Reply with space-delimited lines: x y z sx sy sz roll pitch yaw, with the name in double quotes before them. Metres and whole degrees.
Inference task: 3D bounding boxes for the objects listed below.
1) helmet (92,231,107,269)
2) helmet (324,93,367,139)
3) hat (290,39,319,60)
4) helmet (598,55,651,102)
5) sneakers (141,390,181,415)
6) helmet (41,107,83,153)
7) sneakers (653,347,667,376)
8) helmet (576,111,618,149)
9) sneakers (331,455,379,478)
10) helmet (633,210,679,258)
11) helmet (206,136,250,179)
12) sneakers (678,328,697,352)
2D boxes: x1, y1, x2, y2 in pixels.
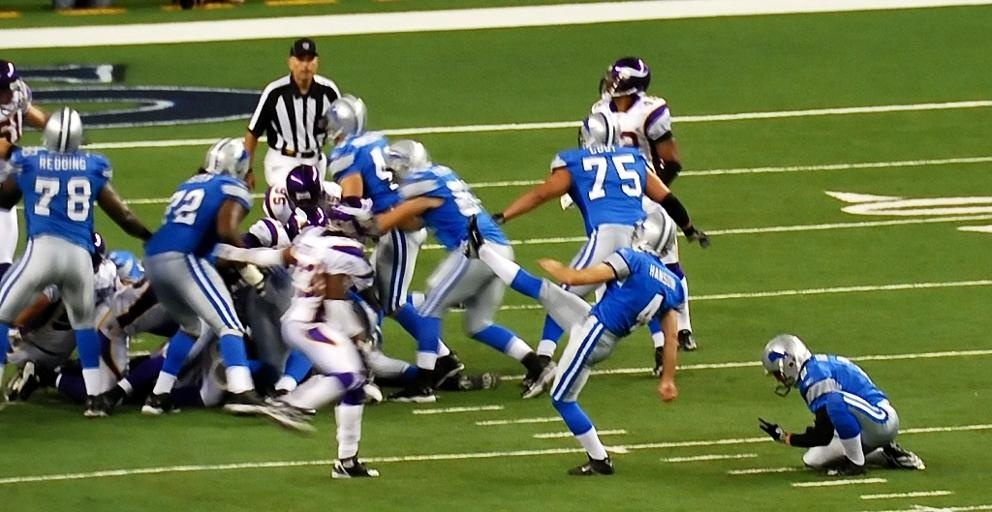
"helmet" -4.470 -0.059 18.443 0.112 0.400 0.307 -2 8 -7
"helmet" -1.734 -1.558 18.798 0.578 0.476 0.445 6 14 18
"hat" -2.382 -2.576 20.296 0.306 0.187 0.385 -1 2 -10
"helmet" 1.489 -2.130 19.732 0.665 0.515 0.483 7 2 -34
"sneakers" -3.751 1.642 18.270 0.404 0.219 0.199 9 4 -2
"helmet" -4.805 -1.438 18.204 0.484 0.475 0.607 2 23 -25
"sneakers" 1.893 1.228 19.112 0.130 0.313 0.156 3 -25 6
"helmet" 1.163 -1.405 18.485 0.383 0.398 0.451 5 -5 9
"sneakers" -1.417 2.225 17.355 0.645 0.217 0.186 -1 9 -7
"helmet" 1.784 -0.264 18.550 0.434 0.376 0.476 -44 15 -4
"helmet" -2.994 -1.102 18.141 0.432 0.438 0.493 13 7 13
"sneakers" 2.271 1.046 19.402 0.242 0.386 0.116 -12 48 7
